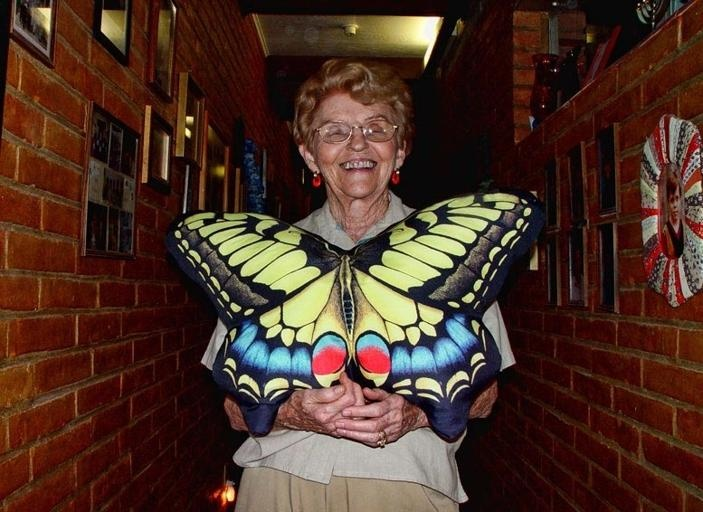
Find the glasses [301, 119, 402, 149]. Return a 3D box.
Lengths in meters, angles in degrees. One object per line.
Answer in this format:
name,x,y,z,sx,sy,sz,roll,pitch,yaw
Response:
glasses,0.009,-0.415,1.786,0.211,0.095,0.155,3,12,-9

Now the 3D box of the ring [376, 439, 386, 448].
ring,0.079,0.499,1.400,0.027,0.028,0.011,0,43,-6
